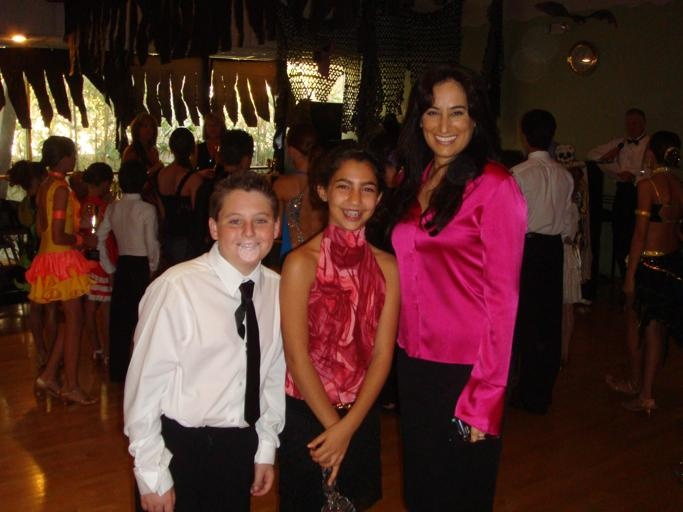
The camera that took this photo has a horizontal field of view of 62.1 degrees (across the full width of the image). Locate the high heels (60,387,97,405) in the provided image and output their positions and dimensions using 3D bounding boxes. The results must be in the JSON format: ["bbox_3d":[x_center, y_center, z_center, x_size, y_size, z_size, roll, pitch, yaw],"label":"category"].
[{"bbox_3d":[-2.120,1.112,4.539,0.218,0.103,0.137,3,7,-17],"label":"high heels"}]

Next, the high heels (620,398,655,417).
[{"bbox_3d":[2.374,1.176,4.512,0.272,0.131,0.101,10,25,44],"label":"high heels"}]

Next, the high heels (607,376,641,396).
[{"bbox_3d":[2.415,1.086,4.841,0.087,0.162,0.223,-16,36,-29],"label":"high heels"}]

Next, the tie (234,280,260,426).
[{"bbox_3d":[-0.371,0.400,2.279,0.096,0.590,0.115,-4,12,-20],"label":"tie"}]
